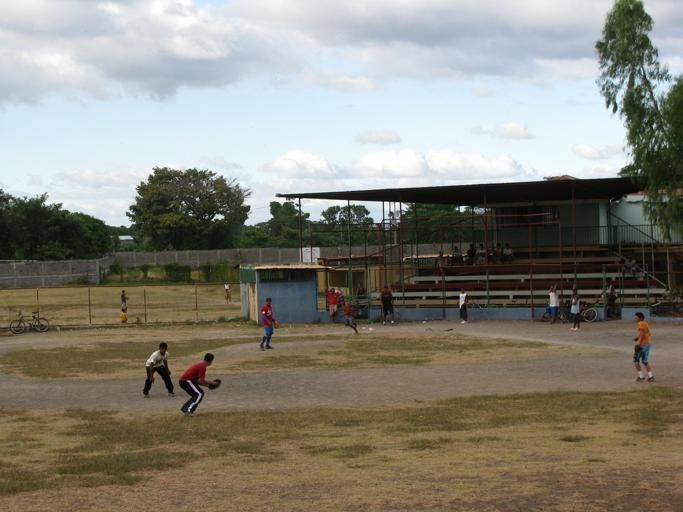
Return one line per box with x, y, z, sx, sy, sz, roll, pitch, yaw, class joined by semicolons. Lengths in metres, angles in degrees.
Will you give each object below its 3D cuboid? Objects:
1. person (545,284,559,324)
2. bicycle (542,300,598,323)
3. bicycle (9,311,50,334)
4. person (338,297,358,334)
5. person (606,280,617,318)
9.619;2.235;53.818;0.478;1.617;0.946;-1;7;9;person
10.448;2.576;54.197;2.502;1.311;0.974;1;-5;5;bicycle
-14.609;3.166;56.119;2.320;1.220;1.144;2;-6;-22;bicycle
0.320;2.935;55.816;0.535;0.483;1.390;-6;29;-16;person
12.406;2.114;54.729;0.423;1.567;0.812;0;8;12;person
